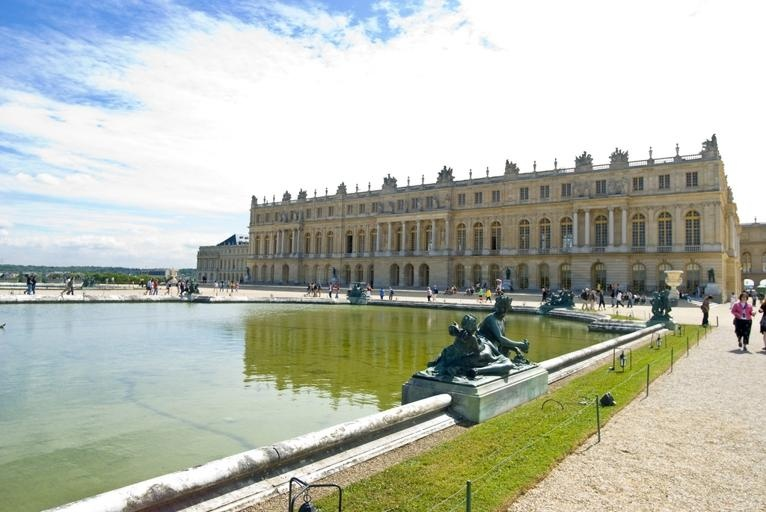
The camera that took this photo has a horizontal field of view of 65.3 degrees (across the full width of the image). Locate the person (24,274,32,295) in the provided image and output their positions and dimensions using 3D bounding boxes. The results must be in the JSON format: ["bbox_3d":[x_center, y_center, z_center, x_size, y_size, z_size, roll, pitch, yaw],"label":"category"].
[{"bbox_3d":[-24.718,1.962,41.876,0.382,1.321,0.914,-9,10,-37],"label":"person"}]
